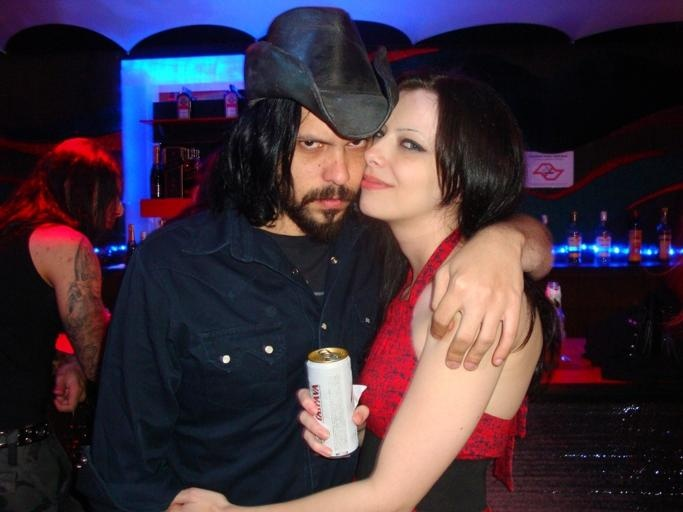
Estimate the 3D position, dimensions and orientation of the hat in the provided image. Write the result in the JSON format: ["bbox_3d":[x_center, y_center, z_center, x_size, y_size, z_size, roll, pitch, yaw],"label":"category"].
[{"bbox_3d":[-0.136,-0.864,2.852,0.533,0.381,0.709,0,17,-29],"label":"hat"}]
